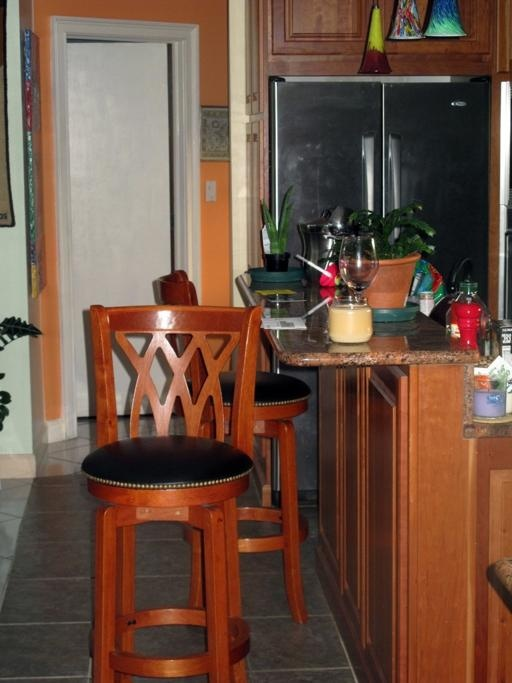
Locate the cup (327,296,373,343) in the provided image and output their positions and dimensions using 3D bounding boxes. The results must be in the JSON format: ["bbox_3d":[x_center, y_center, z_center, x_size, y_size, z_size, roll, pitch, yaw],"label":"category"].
[{"bbox_3d":[0.181,-0.043,1.238,0.072,0.072,0.074,-1,3,0],"label":"cup"}]
